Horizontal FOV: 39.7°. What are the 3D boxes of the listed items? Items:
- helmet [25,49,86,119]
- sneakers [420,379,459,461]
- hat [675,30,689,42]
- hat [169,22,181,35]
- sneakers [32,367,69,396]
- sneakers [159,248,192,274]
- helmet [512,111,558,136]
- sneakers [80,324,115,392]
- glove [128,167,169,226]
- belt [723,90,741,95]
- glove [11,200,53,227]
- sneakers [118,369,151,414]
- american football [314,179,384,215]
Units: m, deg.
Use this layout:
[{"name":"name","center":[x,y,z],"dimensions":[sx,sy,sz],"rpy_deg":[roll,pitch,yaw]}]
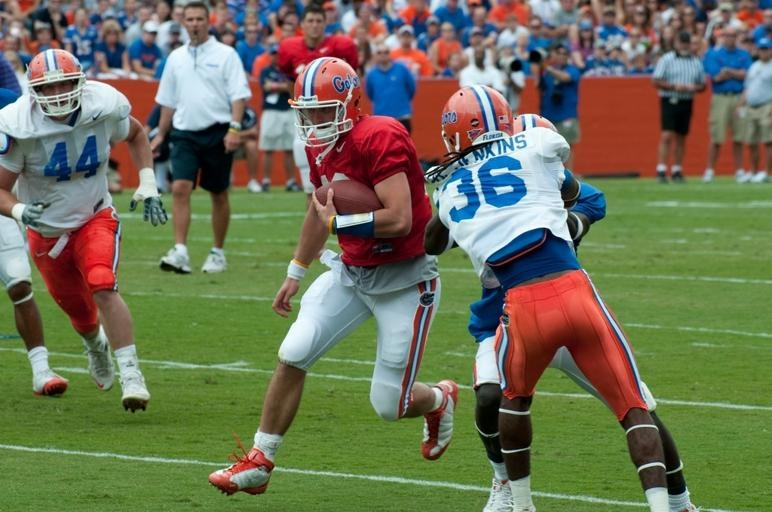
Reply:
[{"name":"helmet","center":[-1.981,-1.030,6.440],"dimensions":[0.342,0.395,0.274],"rpy_deg":[-5,16,-19]},{"name":"sneakers","center":[0.327,0.948,6.076],"dimensions":[0.149,0.470,0.201],"rpy_deg":[-2,-19,41]},{"name":"hat","center":[1.931,-1.420,6.955],"dimensions":[0.070,0.051,0.061],"rpy_deg":[-9,21,-26]},{"name":"hat","center":[-2.923,-3.137,14.814],"dimensions":[0.164,0.122,0.245],"rpy_deg":[0,16,-8]},{"name":"sneakers","center":[-2.120,0.790,6.717],"dimensions":[0.148,0.118,0.294],"rpy_deg":[-2,0,-28]},{"name":"sneakers","center":[-1.677,0.044,8.586],"dimensions":[0.141,0.162,0.293],"rpy_deg":[1,-11,23]},{"name":"helmet","center":[0.786,-0.717,5.706],"dimensions":[0.192,0.139,0.162],"rpy_deg":[-14,-20,43]},{"name":"sneakers","center":[-1.847,0.653,6.898],"dimensions":[0.153,0.466,0.203],"rpy_deg":[-18,23,-13]},{"name":"glove","center":[-1.523,-0.329,6.874],"dimensions":[0.254,0.396,0.125],"rpy_deg":[-18,-20,-6]},{"name":"belt","center":[2.195,-1.023,6.772],"dimensions":[0.094,0.015,0.014],"rpy_deg":[12,19,38]},{"name":"glove","center":[-2.105,-0.237,6.297],"dimensions":[0.205,0.155,0.167],"rpy_deg":[-3,15,-14]},{"name":"sneakers","center":[-1.476,0.802,6.268],"dimensions":[0.147,0.224,0.206],"rpy_deg":[-4,15,-15]},{"name":"american football","center":[-0.207,-0.307,5.809],"dimensions":[0.183,0.168,0.361],"rpy_deg":[5,-1,35]}]
